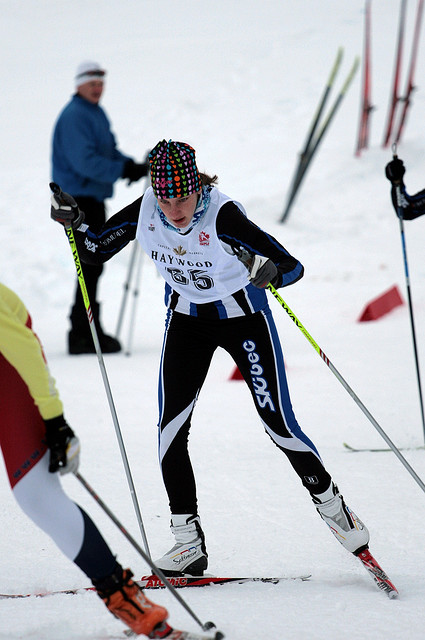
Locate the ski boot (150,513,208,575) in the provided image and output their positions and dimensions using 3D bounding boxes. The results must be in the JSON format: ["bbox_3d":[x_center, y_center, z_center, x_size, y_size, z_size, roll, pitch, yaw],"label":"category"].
[{"bbox_3d":[-0.121,0.720,2.169,0.233,0.202,0.085,12,-28,-40],"label":"ski boot"}]

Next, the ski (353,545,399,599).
[{"bbox_3d":[0.483,0.753,2.019,0.026,0.039,0.146,25,13,-37],"label":"ski"}]

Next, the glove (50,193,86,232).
[{"bbox_3d":[-0.514,-0.372,2.365,0.056,0.141,0.107,-48,17,-21],"label":"glove"}]

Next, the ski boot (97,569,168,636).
[{"bbox_3d":[-0.188,0.669,1.606,0.092,0.122,0.140,-21,21,-41],"label":"ski boot"}]

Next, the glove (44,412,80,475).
[{"bbox_3d":[-0.366,0.284,1.614,0.085,0.059,0.168,3,31,-30],"label":"glove"}]

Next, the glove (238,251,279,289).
[{"bbox_3d":[0.149,-0.143,1.996,0.118,0.127,0.074,-14,17,-24],"label":"glove"}]

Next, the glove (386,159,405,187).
[{"bbox_3d":[0.817,-0.659,3.039,0.079,0.118,0.134,-3,15,15],"label":"glove"}]
